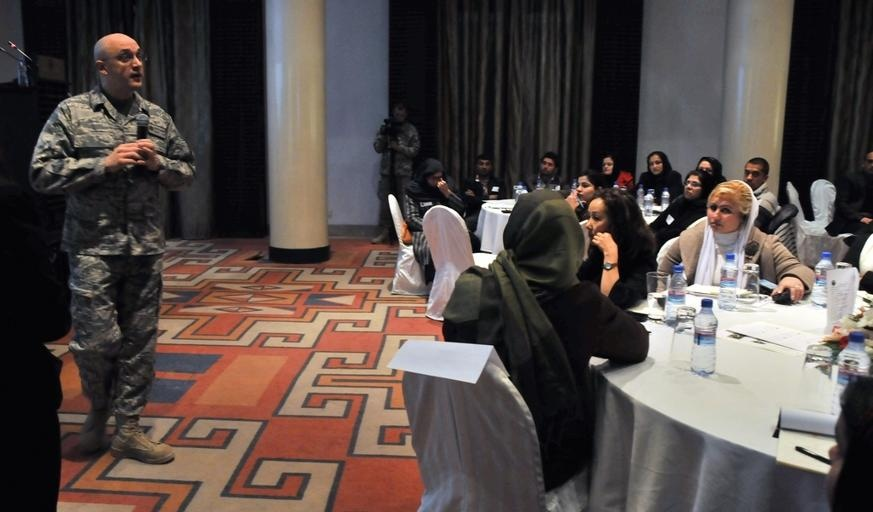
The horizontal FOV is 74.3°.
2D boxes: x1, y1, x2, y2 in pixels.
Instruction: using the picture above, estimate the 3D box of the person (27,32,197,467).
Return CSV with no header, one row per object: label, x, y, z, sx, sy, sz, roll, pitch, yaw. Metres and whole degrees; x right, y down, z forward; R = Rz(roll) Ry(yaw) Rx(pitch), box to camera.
person,-1.783,-0.034,3.324,0.750,2.434,0.666,-14,22,-43
